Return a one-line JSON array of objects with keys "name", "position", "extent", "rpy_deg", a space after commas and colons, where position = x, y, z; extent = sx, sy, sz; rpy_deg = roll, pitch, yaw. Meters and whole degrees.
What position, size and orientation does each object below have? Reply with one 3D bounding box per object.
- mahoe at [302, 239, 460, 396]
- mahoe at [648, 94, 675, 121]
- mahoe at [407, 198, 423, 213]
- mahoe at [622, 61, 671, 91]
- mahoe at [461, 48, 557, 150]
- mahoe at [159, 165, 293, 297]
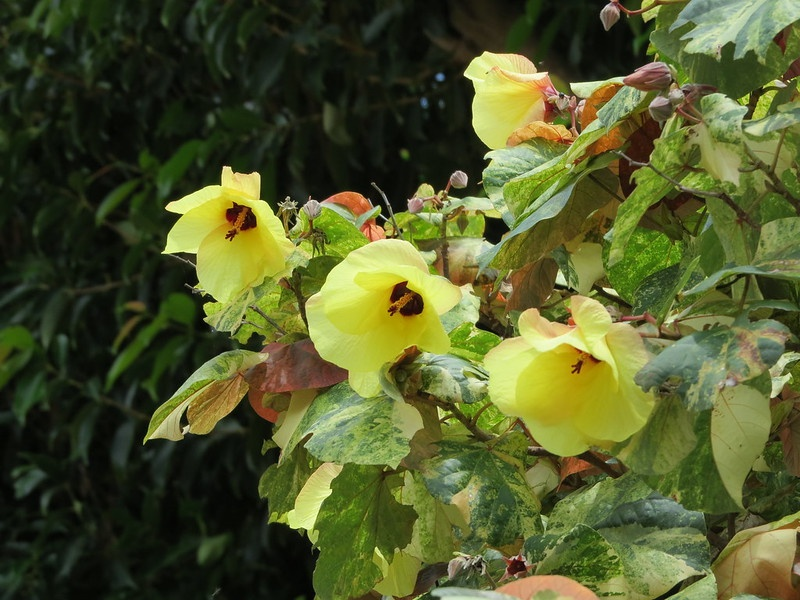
[{"name": "mahoe", "position": [-0.013, -0.006, 1.003], "extent": [0.111, 0.086, 0.055], "rpy_deg": [118, 175, -51]}, {"name": "mahoe", "position": [0.251, -0.185, 0.989], "extent": [0.023, 0.023, 0.020], "rpy_deg": [-4, 4, -35]}, {"name": "mahoe", "position": [0.013, -0.104, 1.148], "extent": [0.016, 0.014, 0.017], "rpy_deg": [-2, 65, 54]}, {"name": "mahoe", "position": [0.240, -0.217, 1.002], "extent": [0.040, 0.019, 0.025], "rpy_deg": [-6, 43, -9]}, {"name": "mahoe", "position": [0.124, -0.224, 1.179], "extent": [0.100, 0.103, 0.053], "rpy_deg": [-32, -7, 1]}, {"name": "mahoe", "position": [-0.168, -0.069, 1.060], "extent": [0.120, 0.146, 0.070], "rpy_deg": [8, 13, 26]}]
